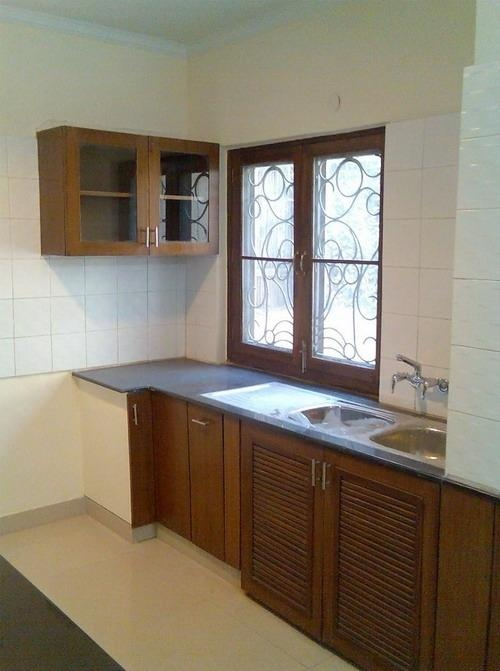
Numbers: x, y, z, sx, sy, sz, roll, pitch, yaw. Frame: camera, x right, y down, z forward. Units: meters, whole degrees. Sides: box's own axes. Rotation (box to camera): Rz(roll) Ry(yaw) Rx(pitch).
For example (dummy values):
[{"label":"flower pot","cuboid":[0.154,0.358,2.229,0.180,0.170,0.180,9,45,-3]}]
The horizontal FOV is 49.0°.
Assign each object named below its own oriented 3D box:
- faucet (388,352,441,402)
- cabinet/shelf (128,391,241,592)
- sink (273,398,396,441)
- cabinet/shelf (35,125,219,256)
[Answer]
[{"label":"faucet","cuboid":[0.657,0.174,2.177,0.182,0.104,0.194,11,9,42]},{"label":"cabinet/shelf","cuboid":[-0.304,0.734,2.634,0.414,0.754,0.784,-2,6,-39]},{"label":"sink","cuboid":[0.406,0.357,2.348,0.186,0.080,0.212,-10,19,-38]},{"label":"cabinet/shelf","cuboid":[-0.630,-0.767,3.063,0.975,0.624,0.342,-9,15,-41]}]
